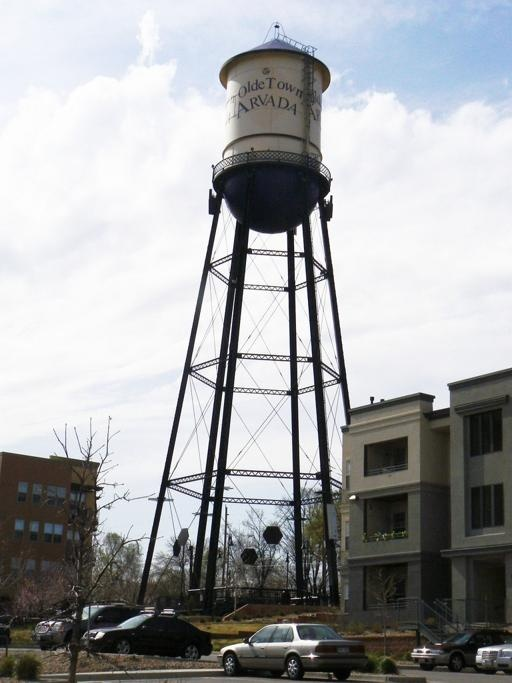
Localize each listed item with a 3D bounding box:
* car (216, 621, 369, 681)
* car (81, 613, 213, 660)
[{"bbox_3d":[0.721,6.075,15.047,1.373,0.961,2.952,8,-10,-37],"label":"car"},{"bbox_3d":[-2.678,7.791,19.850,1.083,1.172,3.449,-10,-16,39],"label":"car"}]
